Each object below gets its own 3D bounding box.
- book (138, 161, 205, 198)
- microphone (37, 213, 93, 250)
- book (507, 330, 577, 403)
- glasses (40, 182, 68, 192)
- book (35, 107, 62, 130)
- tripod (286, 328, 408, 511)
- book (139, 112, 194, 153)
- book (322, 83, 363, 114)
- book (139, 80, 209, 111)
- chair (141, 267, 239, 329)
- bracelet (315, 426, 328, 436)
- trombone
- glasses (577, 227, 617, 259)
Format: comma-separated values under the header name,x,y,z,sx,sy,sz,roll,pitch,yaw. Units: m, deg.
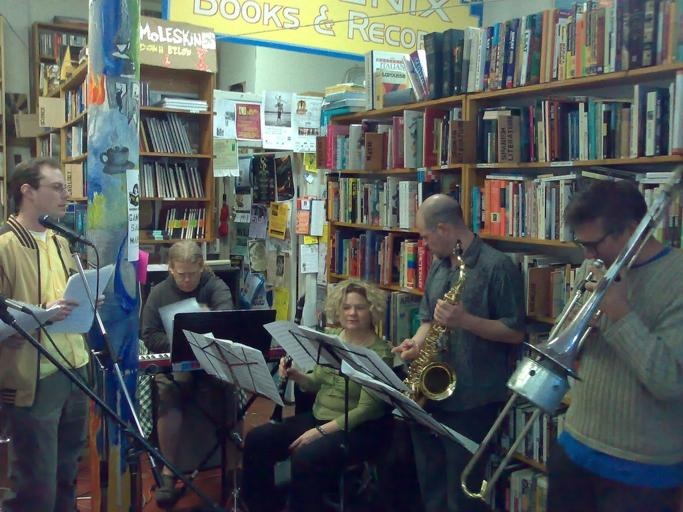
name,x,y,z,sx,sy,sz,roll,pitch,yaw
book,-1.500,-0.683,5.897,0.544,0.344,0.292,-3,10,-14
microphone,-1.234,-0.110,2.981,0.210,0.140,0.189,1,10,10
book,0.761,0.451,2.522,0.201,0.230,0.209,8,12,40
glasses,-1.448,-0.351,3.375,0.059,0.048,0.169,1,10,5
book,-2.817,-1.314,6.358,0.152,0.212,0.283,3,5,44
tripod,0.037,0.894,3.488,0.545,1.023,0.534,24,-37,-29
book,-1.544,-1.075,5.777,0.405,0.330,0.148,-3,10,-17
book,0.022,-1.164,4.891,0.238,0.160,0.314,-6,11,-33
book,-1.474,-1.350,5.719,0.466,0.165,0.349,-3,6,-39
chair,-1.034,0.257,4.537,0.512,0.651,0.423,-6,7,-34
bracelet,-0.108,0.950,3.591,0.032,0.032,0.102,-8,12,-38
trombone,1.031,0.354,2.964,0.363,1.853,0.390,28,-3,44
glasses,1.015,-0.054,2.657,0.108,0.038,0.109,15,-3,29
